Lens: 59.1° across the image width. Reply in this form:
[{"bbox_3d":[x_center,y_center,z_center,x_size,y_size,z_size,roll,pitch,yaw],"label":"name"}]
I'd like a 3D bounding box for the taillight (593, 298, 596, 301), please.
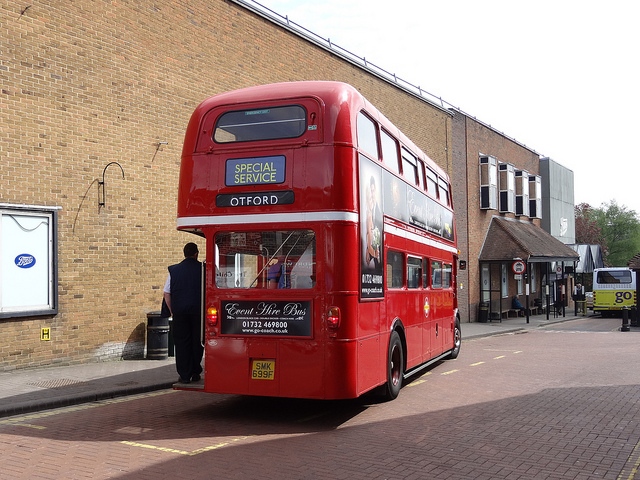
[{"bbox_3d":[17.695,3.883,36.540,0.064,0.166,0.462,-2,-7,15],"label":"taillight"}]

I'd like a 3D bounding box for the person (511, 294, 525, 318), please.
[{"bbox_3d":[12.919,4.329,36.978,0.723,1.489,1.445,-3,-7,25],"label":"person"}]

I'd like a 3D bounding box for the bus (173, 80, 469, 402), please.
[{"bbox_3d":[1.639,0.498,12.157,2.916,5.409,9.940,-6,-9,38],"label":"bus"}]

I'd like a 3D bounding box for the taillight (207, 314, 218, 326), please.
[{"bbox_3d":[-1.723,1.282,8.951,0.156,0.159,0.163,0,-3,16],"label":"taillight"}]

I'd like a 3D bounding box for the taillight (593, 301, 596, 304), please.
[{"bbox_3d":[17.649,4.072,36.409,0.048,0.162,0.138,1,-7,-10],"label":"taillight"}]

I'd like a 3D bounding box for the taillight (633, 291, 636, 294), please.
[{"bbox_3d":[19.347,3.262,34.836,0.135,0.129,0.032,11,-12,-35],"label":"taillight"}]

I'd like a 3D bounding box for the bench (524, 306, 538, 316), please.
[{"bbox_3d":[14.815,4.953,39.275,0.501,0.602,2.421,-3,-8,21],"label":"bench"}]
